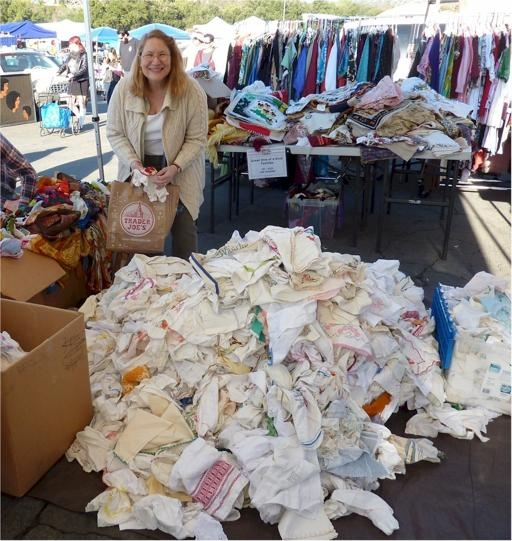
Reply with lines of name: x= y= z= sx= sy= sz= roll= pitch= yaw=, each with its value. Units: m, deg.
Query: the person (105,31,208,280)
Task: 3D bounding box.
person: x=-0.598 y=-0.731 z=2.553 sx=0.634 sy=1.408 sz=0.451 roll=-9 pitch=28 yaw=-17

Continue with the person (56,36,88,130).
person: x=-3.833 y=-3.973 z=8.516 sx=0.588 sy=1.848 sz=0.950 roll=-14 pitch=30 yaw=-25

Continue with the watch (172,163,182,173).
watch: x=-0.495 y=-0.637 z=2.474 sx=0.034 sy=0.044 sz=0.076 roll=10 pitch=28 yaw=19

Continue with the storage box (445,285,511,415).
storage box: x=1.045 y=0.398 z=1.869 sx=0.298 sy=0.340 sz=0.498 roll=1 pitch=39 yaw=12

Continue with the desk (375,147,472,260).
desk: x=1.835 y=-0.708 z=4.357 sx=1.297 sy=1.205 sz=0.963 roll=4 pitch=21 yaw=14
